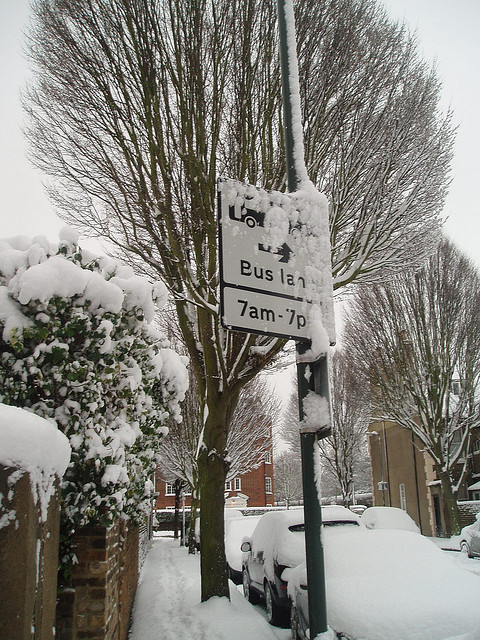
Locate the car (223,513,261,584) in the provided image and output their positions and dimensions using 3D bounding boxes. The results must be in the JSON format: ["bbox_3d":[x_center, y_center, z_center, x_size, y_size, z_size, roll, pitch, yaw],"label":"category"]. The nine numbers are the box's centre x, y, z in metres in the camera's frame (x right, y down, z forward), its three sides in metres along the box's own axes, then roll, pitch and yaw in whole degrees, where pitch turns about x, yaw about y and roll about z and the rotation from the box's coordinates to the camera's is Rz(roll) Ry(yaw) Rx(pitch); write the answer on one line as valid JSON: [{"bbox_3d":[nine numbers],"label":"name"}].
[{"bbox_3d":[0.041,5.391,12.472,0.999,1.207,2.422,3,-17,-5],"label":"car"}]
